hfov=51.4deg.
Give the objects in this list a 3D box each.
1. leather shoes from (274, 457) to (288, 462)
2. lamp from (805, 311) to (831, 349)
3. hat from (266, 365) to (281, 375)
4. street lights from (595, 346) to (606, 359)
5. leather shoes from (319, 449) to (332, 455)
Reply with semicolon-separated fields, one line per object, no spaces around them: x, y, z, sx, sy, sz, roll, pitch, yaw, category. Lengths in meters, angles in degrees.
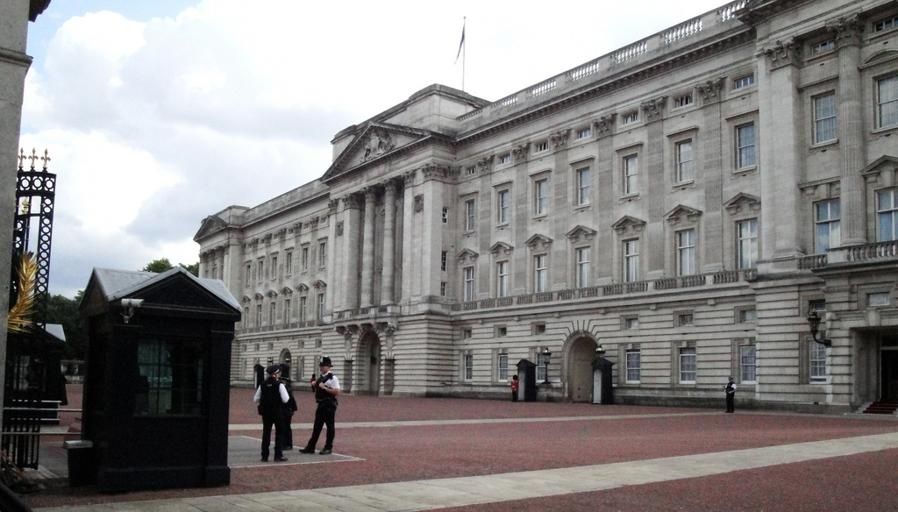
-5.146;6.283;28.712;0.399;0.144;0.131;-3;-5;-3;leather shoes
18.536;3.655;46.432;0.891;2.016;1.689;-5;-14;16;lamp
-5.463;3.548;29.058;0.382;0.153;0.438;-1;0;-45;hat
9.350;5.895;56.906;0.659;0.688;0.774;8;-16;-34;street lights
-3.928;6.304;29.916;0.359;0.127;0.169;4;-9;-10;leather shoes
